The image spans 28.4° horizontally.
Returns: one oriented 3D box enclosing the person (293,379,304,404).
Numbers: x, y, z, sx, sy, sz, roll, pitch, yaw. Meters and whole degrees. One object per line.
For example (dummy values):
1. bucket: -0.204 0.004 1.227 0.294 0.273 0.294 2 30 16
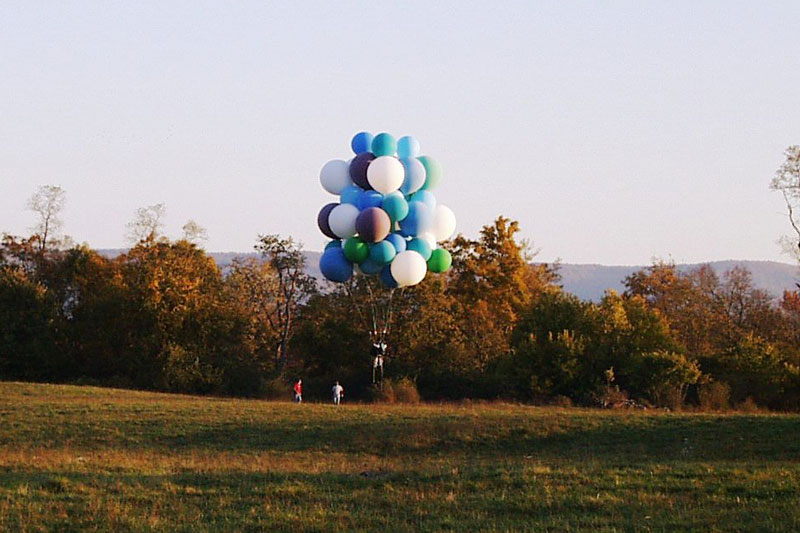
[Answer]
1. person: -7.486 9.581 117.962 0.591 2.046 1.109 -3 -5 0
